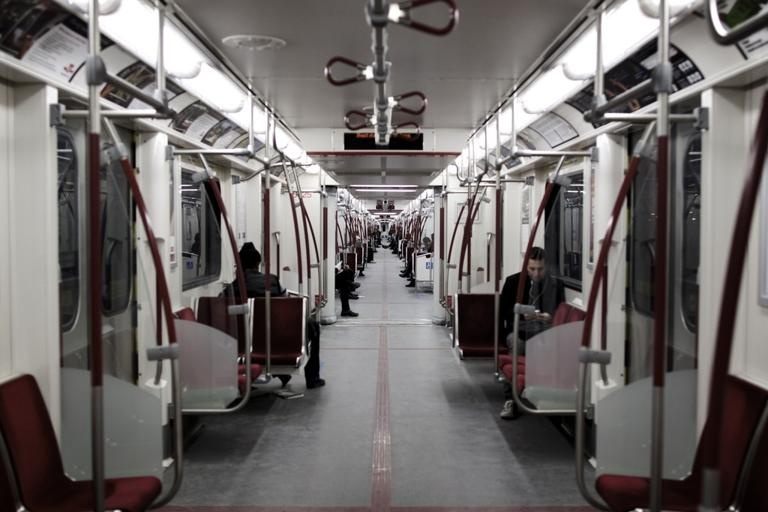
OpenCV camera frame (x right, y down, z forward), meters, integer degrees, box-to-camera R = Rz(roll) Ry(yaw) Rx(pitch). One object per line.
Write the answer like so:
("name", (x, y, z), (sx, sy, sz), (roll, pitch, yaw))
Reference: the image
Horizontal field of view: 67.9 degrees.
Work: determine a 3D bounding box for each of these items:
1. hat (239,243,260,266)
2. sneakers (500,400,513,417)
("hat", (-1.710, 0.001, 7.269), (0.215, 0.326, 0.312), (1, -15, -11))
("sneakers", (1.439, 1.775, 6.611), (0.189, 0.195, 0.117), (1, -5, 25))
